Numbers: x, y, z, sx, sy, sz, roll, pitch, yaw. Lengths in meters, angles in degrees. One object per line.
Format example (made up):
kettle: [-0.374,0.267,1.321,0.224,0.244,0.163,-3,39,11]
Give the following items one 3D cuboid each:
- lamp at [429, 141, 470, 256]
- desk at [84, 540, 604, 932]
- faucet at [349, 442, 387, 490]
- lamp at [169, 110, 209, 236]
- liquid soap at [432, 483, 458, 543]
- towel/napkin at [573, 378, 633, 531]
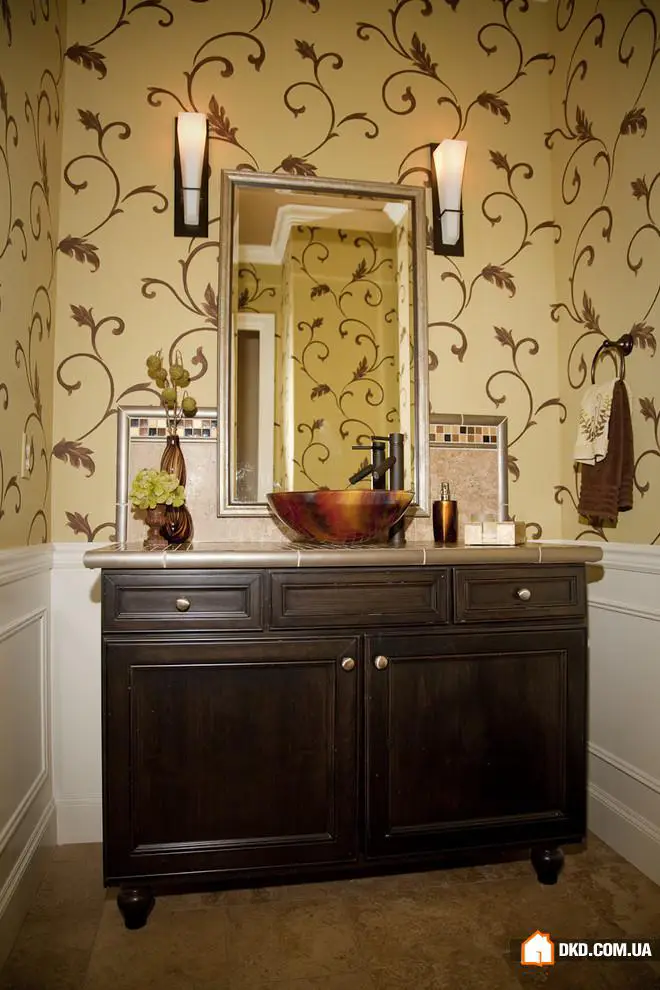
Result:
lamp: [0.351,-0.878,2.282,0.104,0.335,0.124,0,2,1]
desk: [0.032,0.520,1.684,0.654,0.559,0.268,0,-4,-13]
faucet: [0.108,-0.081,2.062,0.111,0.165,0.096,0,-3,20]
lamp: [-0.375,-0.874,2.131,0.093,0.312,0.099,0,2,-13]
liquid soap: [0.305,0.045,2.093,0.062,0.160,0.250,0,2,7]
towel/napkin: [0.697,-0.123,2.004,0.146,0.351,0.120,1,3,37]
